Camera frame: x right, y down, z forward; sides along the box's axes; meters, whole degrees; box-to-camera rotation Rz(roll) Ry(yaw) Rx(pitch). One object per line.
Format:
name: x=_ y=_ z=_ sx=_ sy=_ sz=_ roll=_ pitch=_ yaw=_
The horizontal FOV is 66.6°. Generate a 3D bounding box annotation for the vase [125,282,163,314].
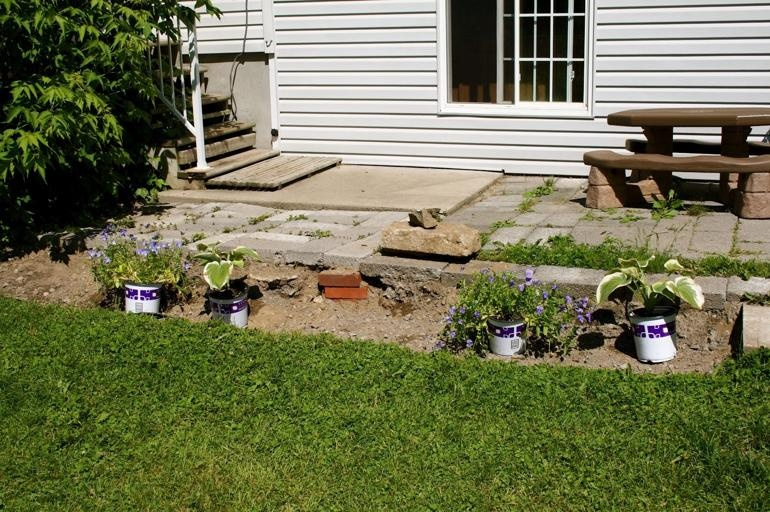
vase: x=-2.248 y=0.383 z=5.391 sx=0.281 sy=0.295 sz=0.295 roll=1 pitch=6 yaw=-3

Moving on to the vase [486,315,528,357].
vase: x=0.933 y=0.606 z=4.454 sx=0.280 sy=0.273 sz=0.287 roll=1 pitch=11 yaw=12

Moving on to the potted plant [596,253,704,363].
potted plant: x=1.964 y=0.422 z=4.592 sx=0.789 sy=0.760 sz=0.796 roll=-2 pitch=0 yaw=-1

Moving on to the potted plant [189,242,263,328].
potted plant: x=-1.450 y=0.297 z=5.326 sx=0.509 sy=0.728 sz=0.427 roll=11 pitch=29 yaw=23

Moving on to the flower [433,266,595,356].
flower: x=0.990 y=0.464 z=4.704 sx=0.839 sy=0.392 sz=0.787 roll=3 pitch=15 yaw=1
